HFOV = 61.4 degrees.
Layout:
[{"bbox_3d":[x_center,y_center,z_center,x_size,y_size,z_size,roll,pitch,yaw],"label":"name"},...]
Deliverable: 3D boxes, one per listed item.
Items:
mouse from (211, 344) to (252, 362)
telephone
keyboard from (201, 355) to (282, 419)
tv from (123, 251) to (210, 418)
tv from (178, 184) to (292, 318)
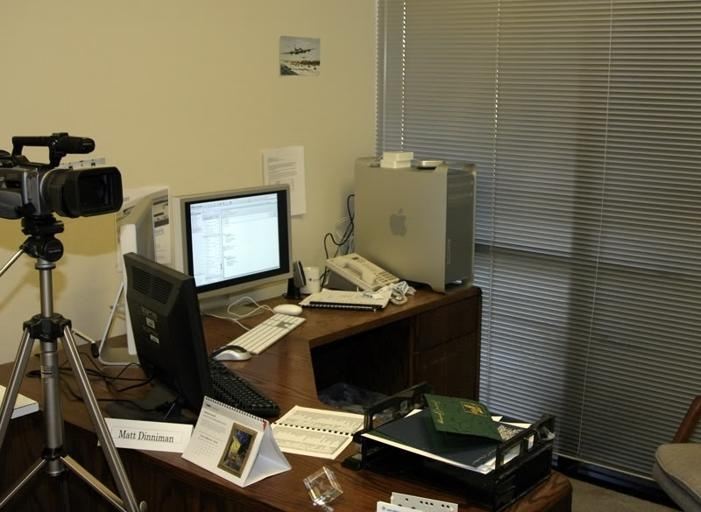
[{"bbox_3d":[-0.475,0.384,2.346,0.114,0.035,0.068,2,6,5],"label":"mouse"},{"bbox_3d":[0.091,0.138,3.092,0.333,0.126,0.246,26,24,26],"label":"telephone"},{"bbox_3d":[-0.410,0.466,2.106,0.194,0.081,0.419,-10,17,-27],"label":"keyboard"},{"bbox_3d":[-0.635,0.279,1.976,0.092,0.401,0.444,-22,30,-26],"label":"tv"},{"bbox_3d":[-0.538,-0.039,2.691,0.248,0.503,0.600,7,13,44],"label":"tv"}]
